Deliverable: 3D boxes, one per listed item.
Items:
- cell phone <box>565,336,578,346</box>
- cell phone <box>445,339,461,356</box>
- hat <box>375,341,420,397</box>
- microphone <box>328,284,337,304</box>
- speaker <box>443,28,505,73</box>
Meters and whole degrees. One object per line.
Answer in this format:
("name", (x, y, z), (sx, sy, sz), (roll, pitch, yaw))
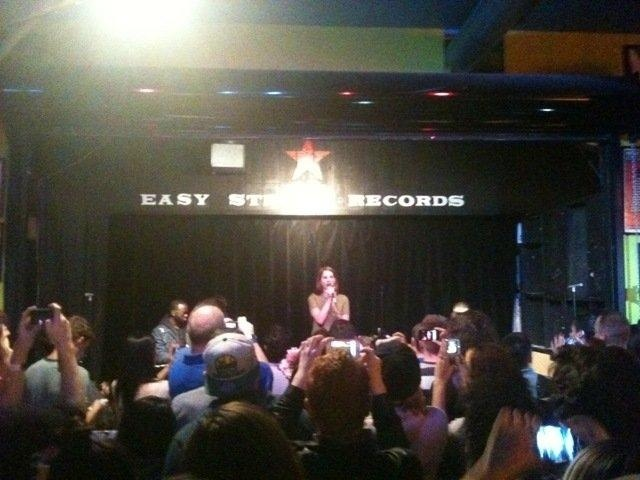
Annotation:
("cell phone", (2.554, 1.034, 5.779), (0.118, 0.037, 0.121), (-7, 3, -7))
("cell phone", (1.016, 0.814, 4.298), (0.114, 0.118, 0.117), (1, -13, -8))
("hat", (0.527, 0.826, 3.620), (0.237, 0.346, 0.335), (-8, -7, -13))
("microphone", (0.164, 0.678, 7.142), (0.067, 0.196, 0.143), (-5, 0, 10))
("speaker", (1.824, -2.280, 6.766), (0.673, 0.593, 0.521), (-1, -5, 15))
